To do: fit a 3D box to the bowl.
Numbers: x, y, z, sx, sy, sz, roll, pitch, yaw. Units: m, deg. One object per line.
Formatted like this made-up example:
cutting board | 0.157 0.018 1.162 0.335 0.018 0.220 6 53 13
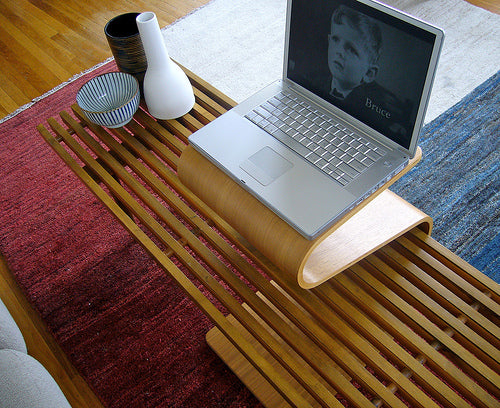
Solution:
bowl | -0.390 -0.298 1.206 0.186 0.100 0.160 -4 54 1
